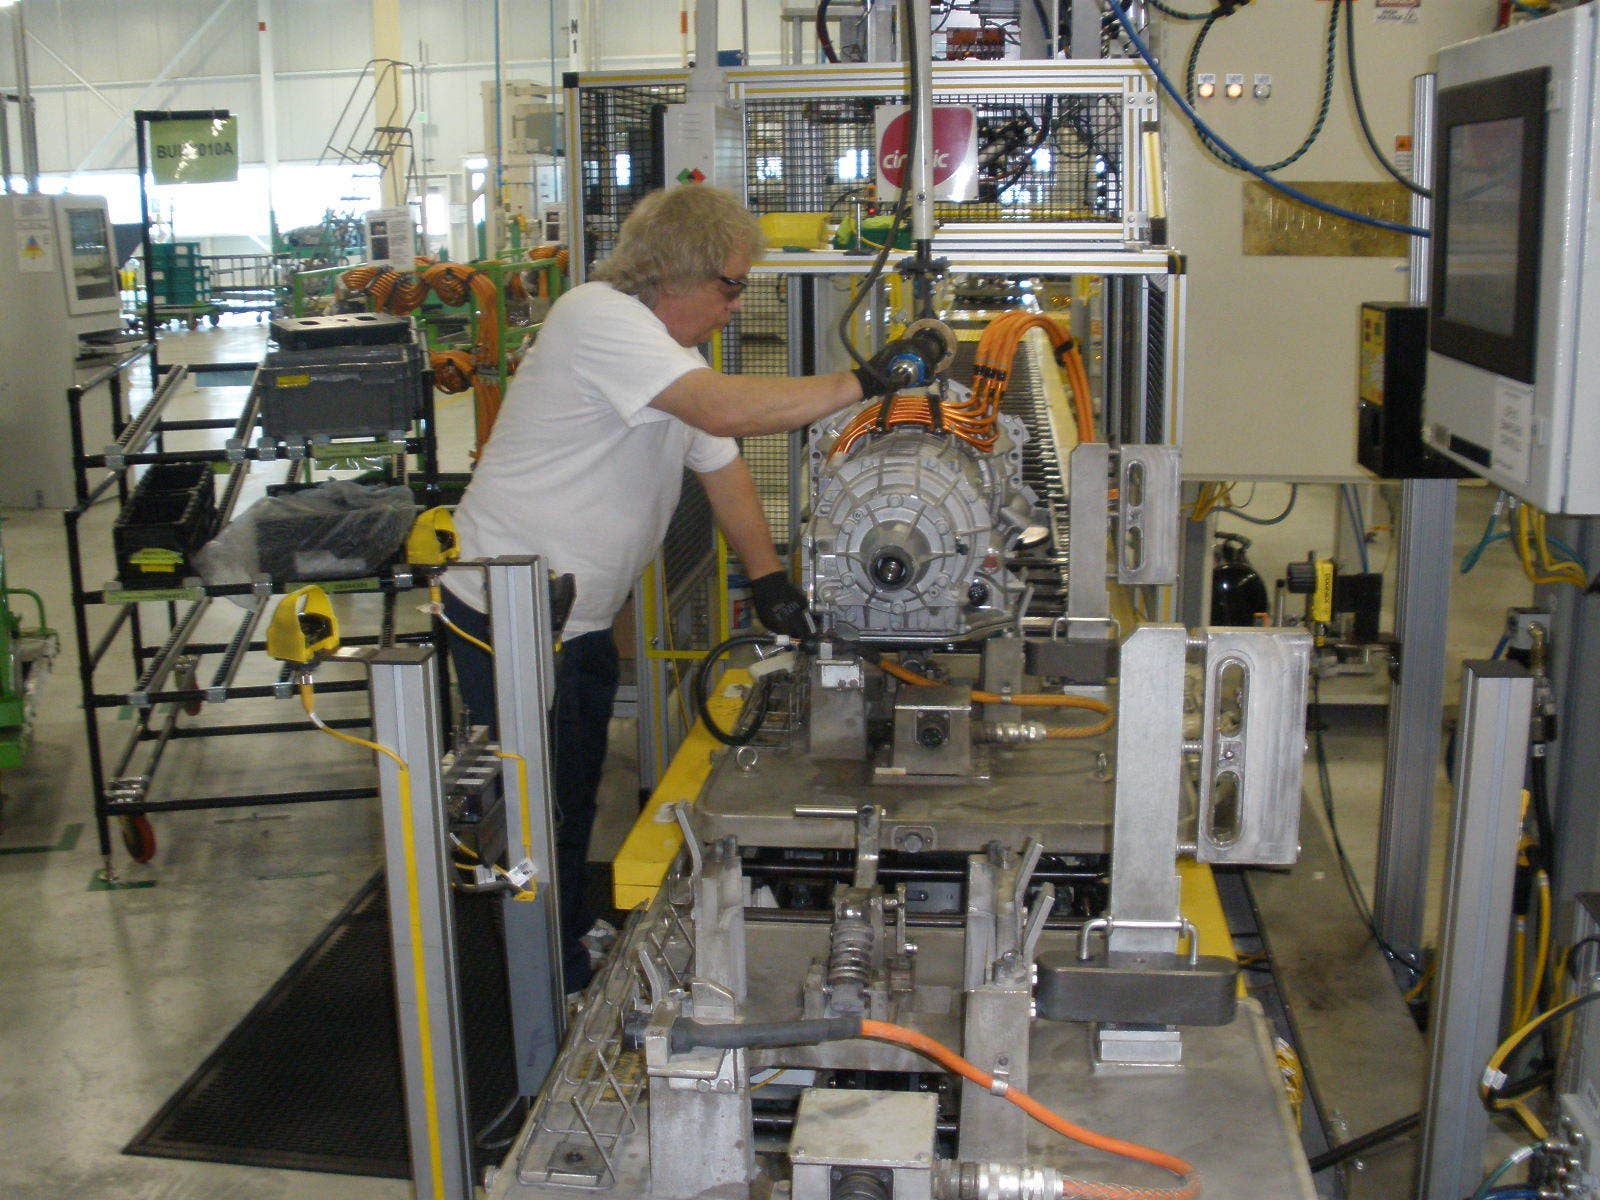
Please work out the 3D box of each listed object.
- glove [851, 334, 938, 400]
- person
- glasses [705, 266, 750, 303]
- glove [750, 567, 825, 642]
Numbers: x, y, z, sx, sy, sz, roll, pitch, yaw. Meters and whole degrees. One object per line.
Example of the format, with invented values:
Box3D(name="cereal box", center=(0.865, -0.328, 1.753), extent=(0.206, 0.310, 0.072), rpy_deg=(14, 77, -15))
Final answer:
Box3D(name="glove", center=(0.198, -0.470, 3.097), extent=(0.177, 0.131, 0.090), rpy_deg=(0, 8, 2))
Box3D(name="person", center=(-0.319, -0.012, 3.584), extent=(0.898, 1.808, 0.467), rpy_deg=(3, 9, 25))
Box3D(name="glasses", center=(-0.164, -0.685, 3.393), extent=(0.076, 0.086, 0.025), rpy_deg=(0, -33, -18))
Box3D(name="glove", center=(-0.040, 0.015, 3.408), extent=(0.113, 0.147, 0.218), rpy_deg=(-2, 9, -13))
